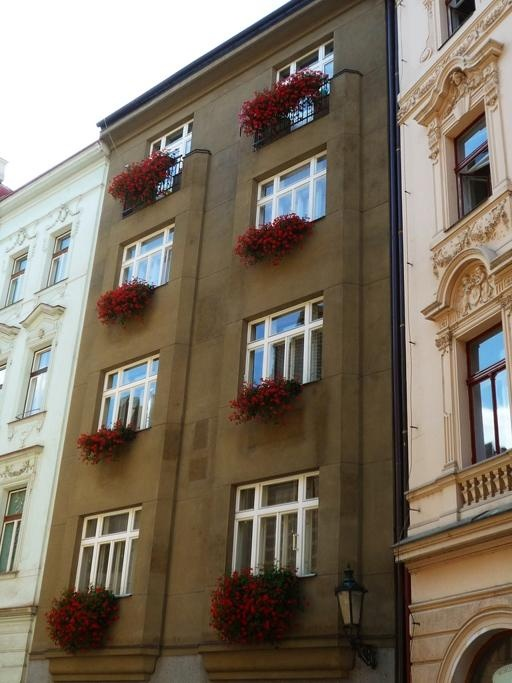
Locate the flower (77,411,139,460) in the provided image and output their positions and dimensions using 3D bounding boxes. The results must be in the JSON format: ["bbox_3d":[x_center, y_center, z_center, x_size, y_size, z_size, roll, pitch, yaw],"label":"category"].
[{"bbox_3d":[-2.812,1.885,13.498,1.030,0.772,0.710,-13,12,-25],"label":"flower"}]

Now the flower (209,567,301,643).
[{"bbox_3d":[-0.007,3.509,9.549,1.253,0.948,0.528,-23,-38,39],"label":"flower"}]

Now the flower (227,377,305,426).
[{"bbox_3d":[0.143,0.931,11.195,0.850,0.676,1.068,-13,13,-17],"label":"flower"}]

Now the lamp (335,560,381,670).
[{"bbox_3d":[1.161,3.297,8.594,0.490,1.128,0.861,-6,-30,17],"label":"lamp"}]

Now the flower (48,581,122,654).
[{"bbox_3d":[-2.992,4.727,12.233,1.084,1.191,1.156,20,-5,-5],"label":"flower"}]

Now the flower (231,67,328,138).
[{"bbox_3d":[0.509,-4.765,14.105,1.258,0.572,0.976,-18,2,43],"label":"flower"}]
